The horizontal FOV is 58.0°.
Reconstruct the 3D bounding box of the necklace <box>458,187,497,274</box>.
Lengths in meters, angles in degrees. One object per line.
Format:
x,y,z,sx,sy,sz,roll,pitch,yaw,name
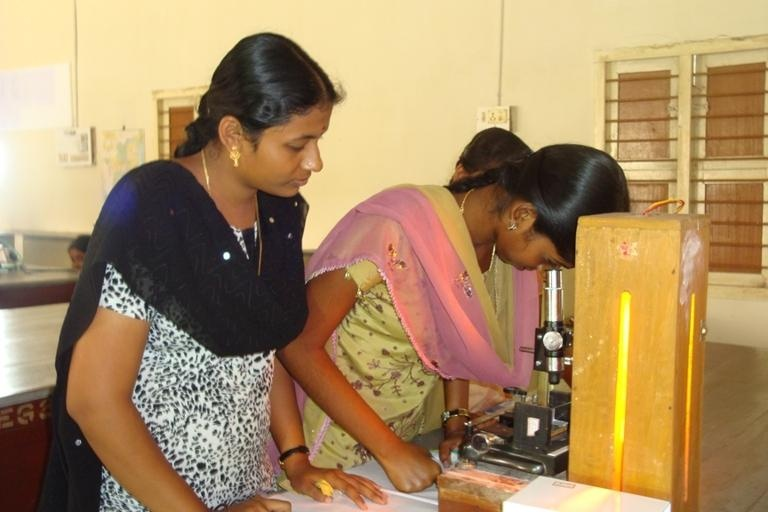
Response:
0.317,-0.063,2.322,0.131,0.297,0.109,7,24,15,necklace

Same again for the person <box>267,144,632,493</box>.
0.217,0.174,2.271,0.842,1.090,0.989,3,11,12,person

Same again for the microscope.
0.343,0.274,1.794,0.273,0.497,0.282,2,6,15,microscope

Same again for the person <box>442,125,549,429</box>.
0.385,0.071,2.515,0.306,1.000,0.379,3,13,14,person
